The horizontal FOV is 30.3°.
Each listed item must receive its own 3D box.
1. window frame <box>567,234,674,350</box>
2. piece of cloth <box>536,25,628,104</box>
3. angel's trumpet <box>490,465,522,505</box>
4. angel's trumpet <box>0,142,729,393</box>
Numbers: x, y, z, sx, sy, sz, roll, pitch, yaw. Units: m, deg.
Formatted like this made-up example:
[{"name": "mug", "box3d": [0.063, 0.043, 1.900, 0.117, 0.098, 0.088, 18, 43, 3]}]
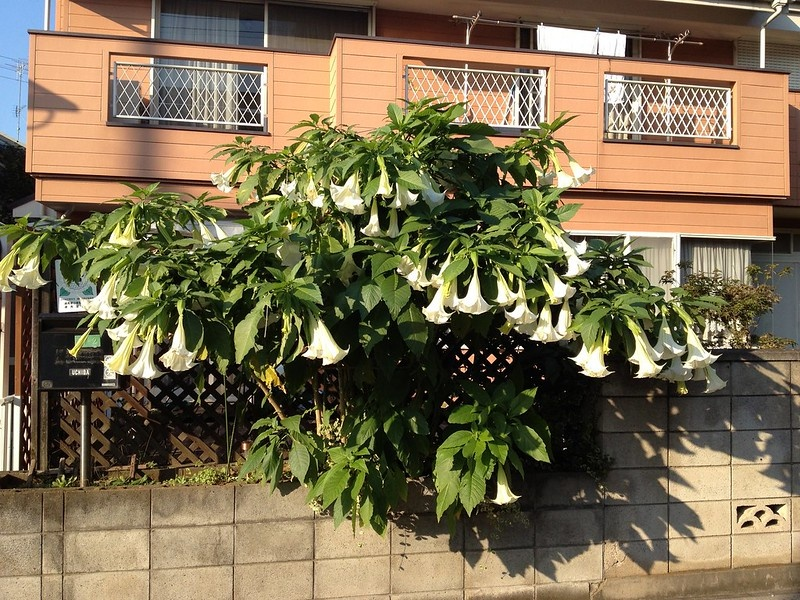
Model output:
[{"name": "window frame", "box3d": [2.159, -0.018, 14.997, 1.074, 1.121, 1.087, 1, 10, 1]}, {"name": "piece of cloth", "box3d": [2.398, -3.124, 19.841, 1.321, 1.185, 0.139, 2, 0, -4]}, {"name": "angel's trumpet", "box3d": [1.051, 1.847, 14.914, 0.258, 0.441, 0.470, 1, -1, 4]}, {"name": "angel's trumpet", "box3d": [-0.620, -0.302, 14.419, 3.851, 1.538, 3.891, 2, 5, 35]}]
